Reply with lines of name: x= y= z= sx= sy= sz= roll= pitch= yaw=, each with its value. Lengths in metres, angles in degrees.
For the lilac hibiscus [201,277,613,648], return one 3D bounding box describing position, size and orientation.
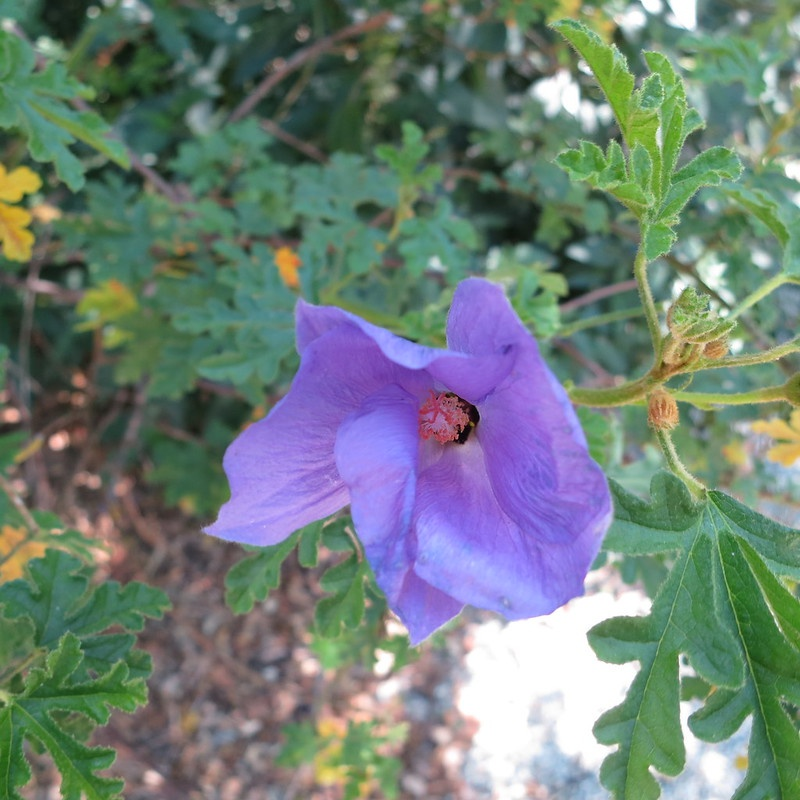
lilac hibiscus: x=0.033 y=0.079 z=1.264 sx=0.500 sy=0.369 sz=0.469 roll=20 pitch=-51 yaw=-8
